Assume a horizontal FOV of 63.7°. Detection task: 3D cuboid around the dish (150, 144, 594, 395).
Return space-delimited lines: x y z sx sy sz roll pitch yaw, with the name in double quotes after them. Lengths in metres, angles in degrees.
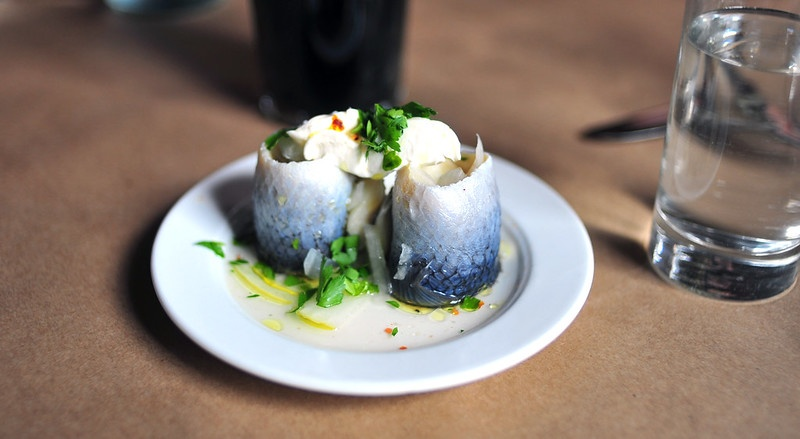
-0.073 0.112 0.874 0.417 0.042 0.410 15 44 12 "dish"
